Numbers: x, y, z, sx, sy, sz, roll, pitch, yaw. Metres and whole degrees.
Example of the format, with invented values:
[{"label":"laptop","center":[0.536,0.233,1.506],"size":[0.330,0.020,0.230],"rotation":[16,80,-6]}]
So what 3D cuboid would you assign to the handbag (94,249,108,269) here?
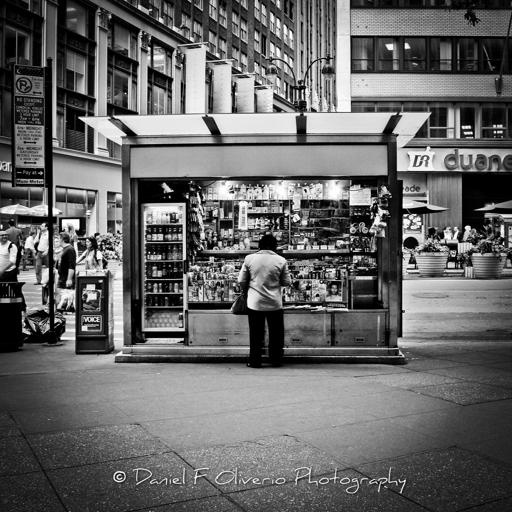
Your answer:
[{"label":"handbag","center":[-3.129,0.071,14.941],"size":[0.105,0.343,0.229],"rotation":[-4,7,8]}]

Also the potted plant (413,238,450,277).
[{"label":"potted plant","center":[6.299,0.077,27.036],"size":[1.091,1.440,1.126],"rotation":[1,-1,-12]}]

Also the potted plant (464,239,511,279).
[{"label":"potted plant","center":[8.105,0.167,26.570],"size":[1.206,1.352,1.303],"rotation":[0,-1,29]}]

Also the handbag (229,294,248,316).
[{"label":"handbag","center":[-0.247,0.688,10.299],"size":[0.232,0.332,0.142],"rotation":[6,4,6]}]

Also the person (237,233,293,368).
[{"label":"person","center":[0.105,0.722,10.071],"size":[0.684,1.527,0.399],"rotation":[0,2,-2]}]

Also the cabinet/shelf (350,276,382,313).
[{"label":"cabinet/shelf","center":[1.558,0.534,10.711],"size":[0.452,0.547,0.394],"rotation":[-1,1,3]}]

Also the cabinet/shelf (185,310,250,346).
[{"label":"cabinet/shelf","center":[-0.569,0.983,10.711],"size":[0.724,0.533,0.390],"rotation":[2,0,2]}]

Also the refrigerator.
[{"label":"refrigerator","center":[-1.365,0.215,11.001],"size":[0.679,1.985,0.406],"rotation":[-1,2,-10]}]
